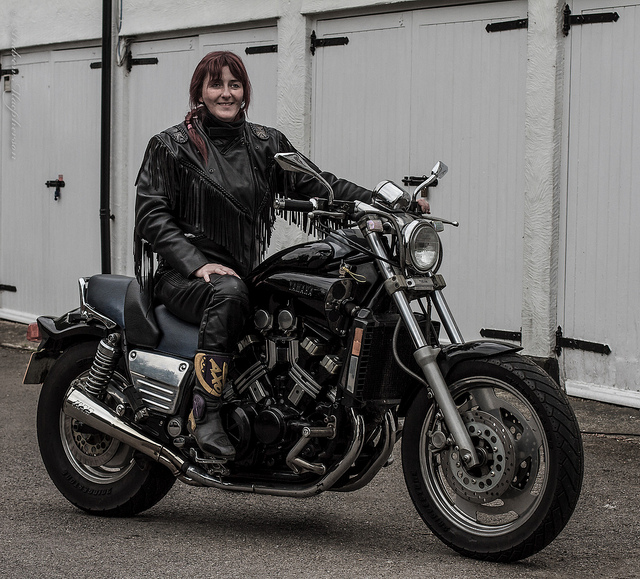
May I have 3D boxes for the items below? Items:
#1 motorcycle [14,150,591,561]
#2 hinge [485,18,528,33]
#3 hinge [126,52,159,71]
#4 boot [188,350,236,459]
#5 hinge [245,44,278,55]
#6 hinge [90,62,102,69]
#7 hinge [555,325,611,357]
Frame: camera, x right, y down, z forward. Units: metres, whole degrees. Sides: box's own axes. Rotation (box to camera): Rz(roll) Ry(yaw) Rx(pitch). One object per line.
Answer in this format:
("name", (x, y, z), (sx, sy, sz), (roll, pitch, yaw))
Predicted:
("motorcycle", (-0.092, 0.335, 4.086), (2.875, 2.162, 1.298), (-2, -4, 32))
("hinge", (1.573, -2.205, 6.451), (0.358, 0.094, 0.020), (0, -1, 34))
("hinge", (-2.097, -2.695, 8.987), (0.512, 0.211, 0.035), (0, -1, 33))
("boot", (-0.465, 0.481, 3.260), (0.208, 0.444, 0.208), (0, -1, -5))
("hinge", (-0.619, -2.490, 8.010), (0.448, 0.112, 0.017), (0, -1, 37))
("hinge", (-2.751, -2.723, 9.355), (0.213, 0.083, 0.029), (0, -1, 40))
("hinge", (2.120, 0.408, 6.215), (0.279, 0.207, 0.190), (6, 9, 24))
